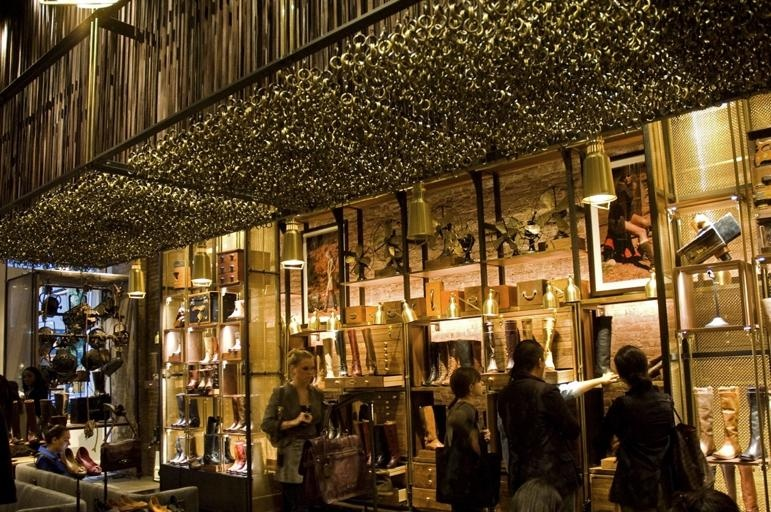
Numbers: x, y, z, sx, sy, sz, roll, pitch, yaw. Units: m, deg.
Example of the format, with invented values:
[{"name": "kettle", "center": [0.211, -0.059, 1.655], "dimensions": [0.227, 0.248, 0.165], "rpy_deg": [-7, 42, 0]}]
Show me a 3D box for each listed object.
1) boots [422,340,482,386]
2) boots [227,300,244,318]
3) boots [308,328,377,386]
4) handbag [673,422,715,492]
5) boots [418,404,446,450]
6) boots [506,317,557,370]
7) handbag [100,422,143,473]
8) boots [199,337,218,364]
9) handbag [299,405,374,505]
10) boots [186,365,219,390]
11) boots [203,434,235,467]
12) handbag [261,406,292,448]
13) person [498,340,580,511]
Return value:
[{"name": "boots", "center": [0.778, 1.225, 8.439], "dimensions": [0.487, 0.473, 0.627], "rpy_deg": [-4, -21, 14]}, {"name": "boots", "center": [-2.114, 0.767, 10.229], "dimensions": [0.164, 0.293, 0.470], "rpy_deg": [3, -15, -31]}, {"name": "boots", "center": [-0.509, 1.292, 9.047], "dimensions": [0.693, 0.682, 0.399], "rpy_deg": [-6, -9, 26]}, {"name": "handbag", "center": [2.499, 1.617, 5.799], "dimensions": [0.340, 0.532, 0.210], "rpy_deg": [1, -14, -25]}, {"name": "boots", "center": [0.533, 2.009, 8.452], "dimensions": [0.158, 0.500, 0.319], "rpy_deg": [7, -17, -42]}, {"name": "boots", "center": [1.615, 0.973, 7.853], "dimensions": [0.528, 0.632, 0.489], "rpy_deg": [16, -22, -40]}, {"name": "handbag", "center": [-2.706, 2.041, 7.343], "dimensions": [0.394, 0.290, 0.279], "rpy_deg": [5, -16, -37]}, {"name": "boots", "center": [-2.581, 1.398, 10.591], "dimensions": [0.227, 0.437, 0.405], "rpy_deg": [-6, -12, 25]}, {"name": "handbag", "center": [-0.449, 1.990, 6.759], "dimensions": [0.678, 0.637, 0.249], "rpy_deg": [4, -15, -35]}, {"name": "boots", "center": [-2.655, 1.796, 10.517], "dimensions": [0.368, 0.382, 0.509], "rpy_deg": [2, -3, -35]}, {"name": "boots", "center": [-2.266, 2.791, 10.241], "dimensions": [0.425, 0.467, 0.417], "rpy_deg": [-17, -24, 28]}, {"name": "handbag", "center": [-1.099, 1.708, 7.146], "dimensions": [0.148, 0.353, 0.350], "rpy_deg": [5, -4, -8]}, {"name": "person", "center": [1.278, 1.427, 6.008], "dimensions": [0.627, 1.456, 0.647], "rpy_deg": [-6, -13, 7]}]
